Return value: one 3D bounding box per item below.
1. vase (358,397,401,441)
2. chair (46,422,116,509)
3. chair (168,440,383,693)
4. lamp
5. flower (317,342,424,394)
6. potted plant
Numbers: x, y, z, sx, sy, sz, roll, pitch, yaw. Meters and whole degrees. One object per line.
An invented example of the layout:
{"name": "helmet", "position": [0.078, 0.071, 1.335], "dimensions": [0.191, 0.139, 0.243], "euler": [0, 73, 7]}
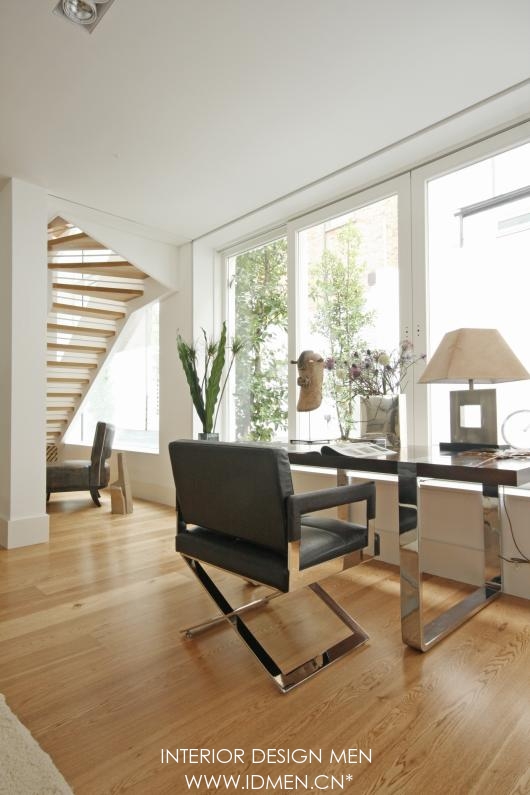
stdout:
{"name": "vase", "position": [0.567, 0.105, 2.904], "dimensions": [0.064, 0.200, 0.192], "euler": [0, 1, -40]}
{"name": "chair", "position": [-1.590, 0.534, 5.003], "dimensions": [0.562, 0.658, 0.405], "euler": [1, -3, -21]}
{"name": "chair", "position": [0.008, 0.532, 2.213], "dimensions": [0.673, 0.777, 0.519], "euler": [0, 2, 45]}
{"name": "lamp", "position": [0.884, -0.042, 2.537], "dimensions": [0.340, 0.500, 0.394], "euler": [-1, 1, -6]}
{"name": "flower", "position": [0.660, -0.161, 3.566], "dimensions": [0.337, 0.210, 0.408], "euler": [-4, -3, -9]}
{"name": "potted plant", "position": [-0.461, -0.023, 4.486], "dimensions": [0.515, 0.923, 0.411], "euler": [-3, -8, -15]}
